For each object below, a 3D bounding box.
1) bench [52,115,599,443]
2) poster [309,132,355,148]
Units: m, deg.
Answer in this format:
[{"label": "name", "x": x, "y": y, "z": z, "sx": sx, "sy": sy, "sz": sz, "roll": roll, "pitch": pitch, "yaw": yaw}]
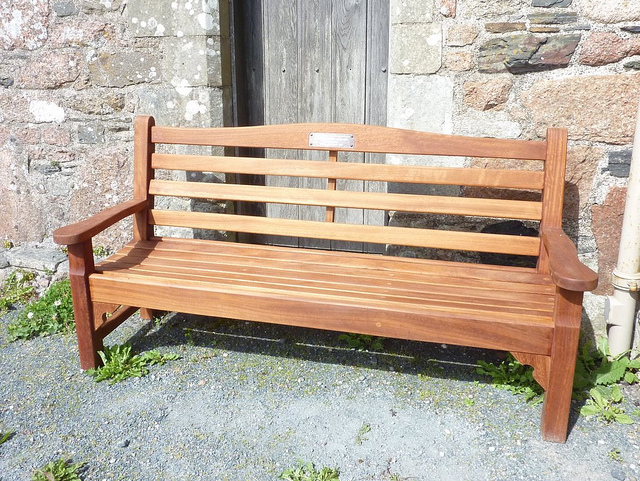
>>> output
[{"label": "bench", "x": -0.002, "y": 0.090, "z": 2.675, "sx": 2.671, "sy": 1.125, "sz": 0.880, "roll": 4, "pitch": 32, "yaw": 11}, {"label": "poster", "x": 0.070, "y": -0.560, "z": 2.796, "sx": 0.319, "sy": 0.087, "sz": 0.038, "roll": 1, "pitch": 11, "yaw": 10}]
